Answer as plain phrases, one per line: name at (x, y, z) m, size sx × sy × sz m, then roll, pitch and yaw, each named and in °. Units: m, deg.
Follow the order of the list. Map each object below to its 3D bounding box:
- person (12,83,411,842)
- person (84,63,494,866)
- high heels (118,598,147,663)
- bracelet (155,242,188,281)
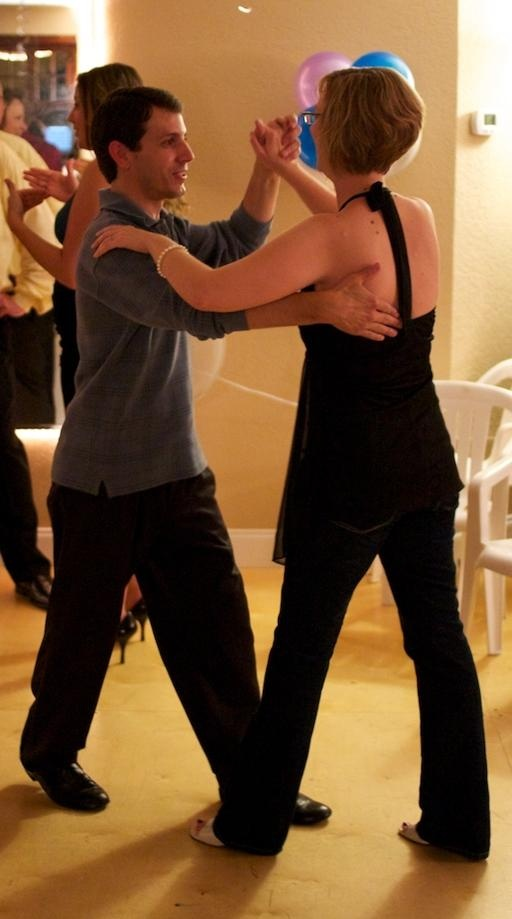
person at (-0.087, 0.036, 1.565) m, size 0.883 × 1.537 × 0.496 m, roll 2°, pitch 10°, yaw 8°
person at (0.073, 0.036, 1.403) m, size 0.703 × 1.406 × 0.388 m, roll -1°, pitch 6°, yaw -6°
high heels at (-0.428, 0.607, 2.708) m, size 0.073 × 0.092 × 0.236 m, roll 7°, pitch 36°, yaw 8°
bracelet at (-0.143, -0.340, 1.295) m, size 0.022 × 0.064 × 0.054 m, roll 14°, pitch 1°, yaw 23°
